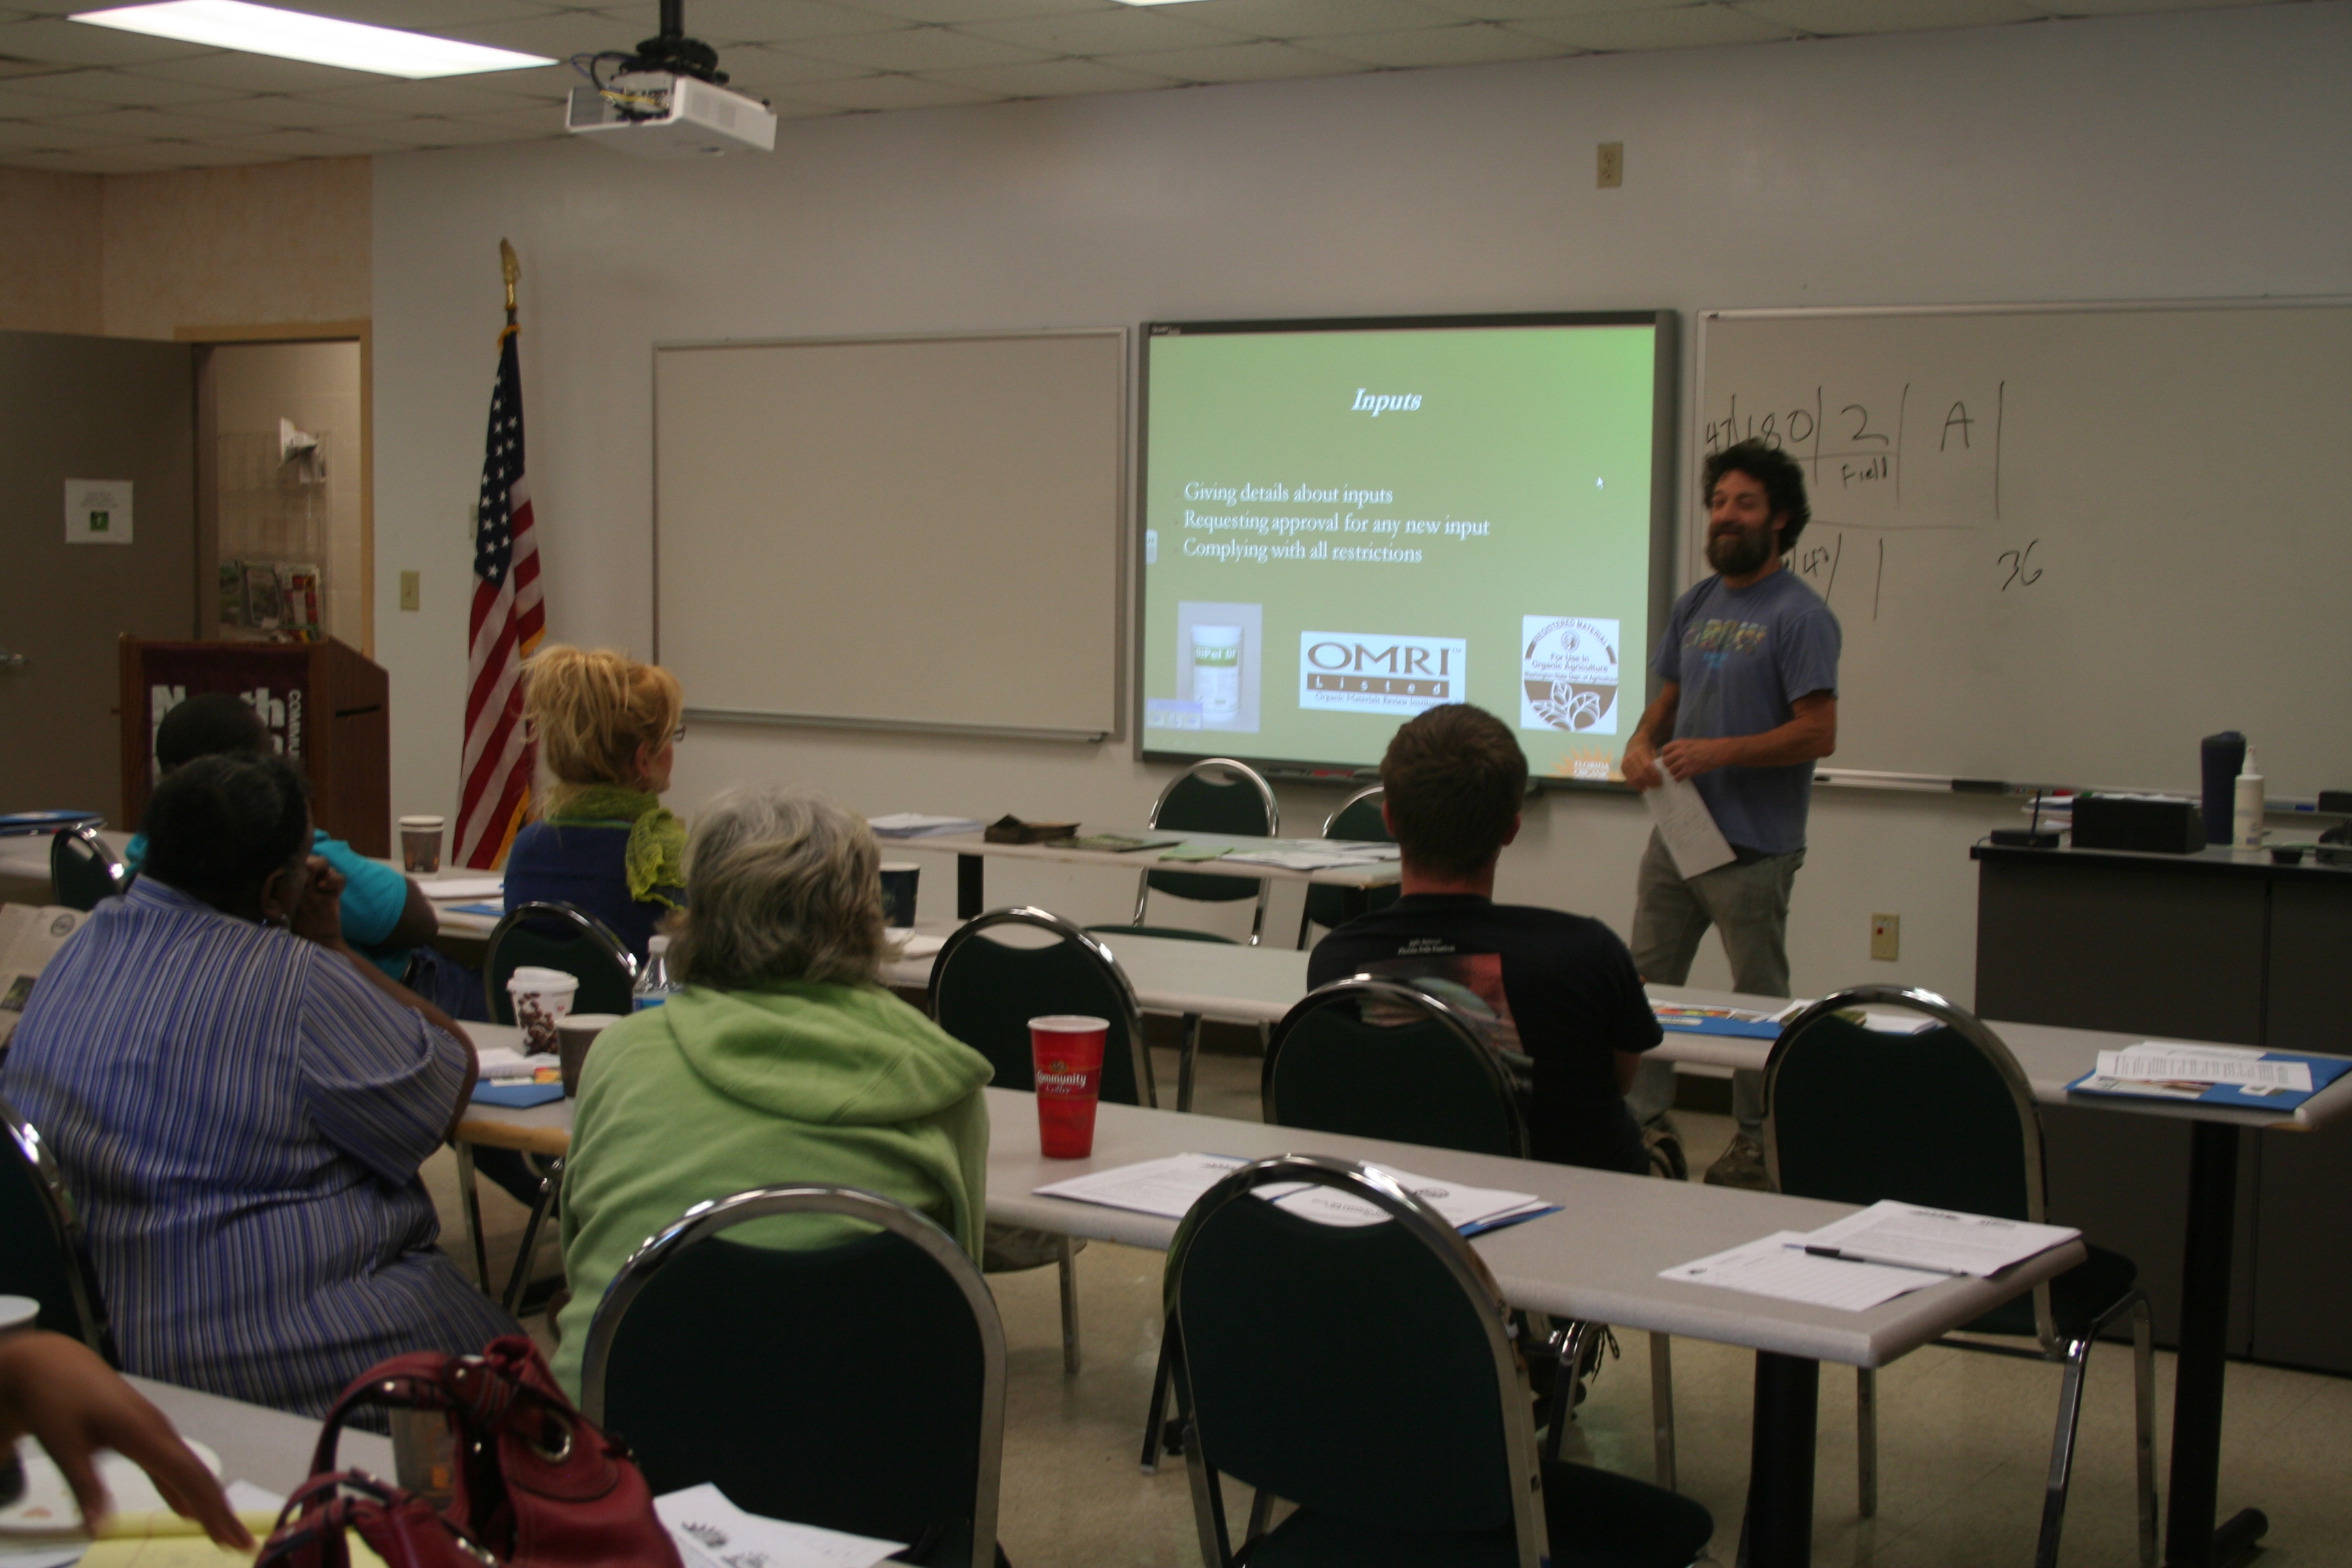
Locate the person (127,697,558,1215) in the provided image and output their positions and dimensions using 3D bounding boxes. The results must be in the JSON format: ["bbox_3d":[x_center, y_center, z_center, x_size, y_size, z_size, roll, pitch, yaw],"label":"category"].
[{"bbox_3d":[-1.549,0.306,3.359,1.324,0.340,0.489,23,20,25],"label":"person"}]

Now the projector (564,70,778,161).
[{"bbox_3d":[-1.426,-1.871,5.045,0.539,0.182,0.274,2,4,-7],"label":"projector"}]

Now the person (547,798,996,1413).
[{"bbox_3d":[-0.548,0.482,2.541,0.588,0.902,0.485,3,-3,-9],"label":"person"}]

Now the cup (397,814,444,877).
[{"bbox_3d":[-2.260,0.183,5.394,0.173,0.196,0.176,0,1,0],"label":"cup"}]

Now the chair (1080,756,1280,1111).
[{"bbox_3d":[-0.014,0.530,6.233,0.592,1.248,0.743,3,0,27],"label":"chair"}]

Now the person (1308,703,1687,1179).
[{"bbox_3d":[0.588,0.310,3.319,0.594,0.873,0.492,-4,8,39],"label":"person"}]

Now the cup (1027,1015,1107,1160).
[{"bbox_3d":[-0.168,0.483,2.930,0.139,0.210,0.142,1,6,0],"label":"cup"}]

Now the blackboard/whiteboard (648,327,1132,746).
[{"bbox_3d":[-1.099,-1.048,7.475,1.705,1.320,0.060,3,8,25],"label":"blackboard/whiteboard"}]
